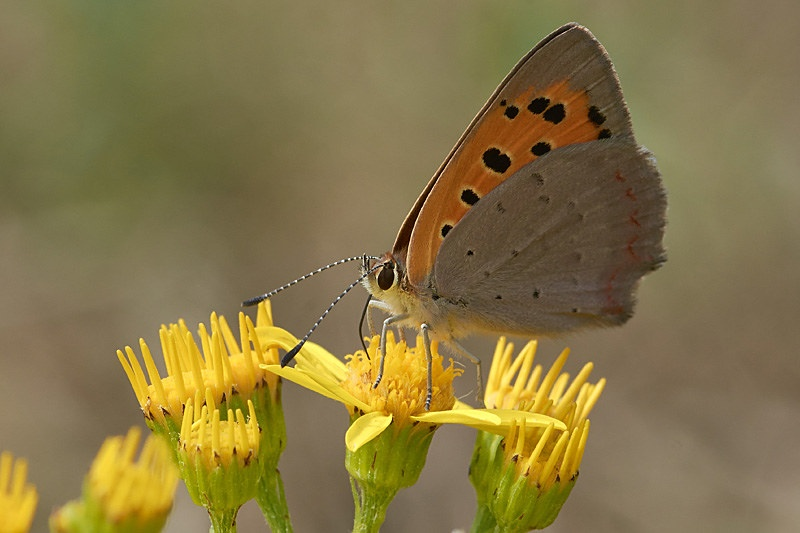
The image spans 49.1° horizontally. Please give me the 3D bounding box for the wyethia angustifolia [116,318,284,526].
[{"bbox_3d":[-0.701,0.562,3.164,0.451,0.905,0.739,-10,3,-15],"label":"wyethia angustifolia"}]
